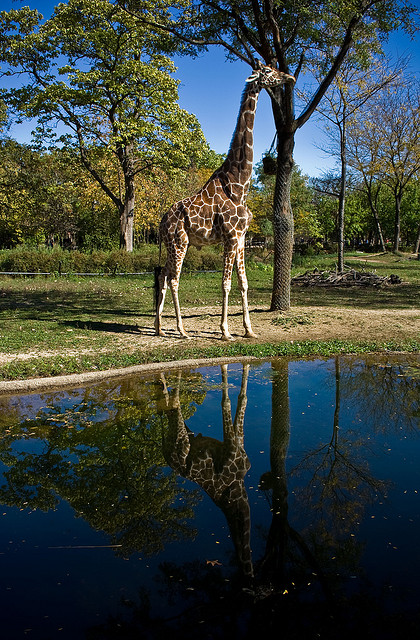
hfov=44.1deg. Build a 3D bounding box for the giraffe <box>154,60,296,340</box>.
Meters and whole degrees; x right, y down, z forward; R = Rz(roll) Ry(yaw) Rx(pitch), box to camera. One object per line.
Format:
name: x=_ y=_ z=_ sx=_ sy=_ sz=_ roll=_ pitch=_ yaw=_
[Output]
giraffe: x=0.103 y=-2.290 z=9.998 sx=2.436 sy=5.243 sz=1.099 roll=1 pitch=7 yaw=19
